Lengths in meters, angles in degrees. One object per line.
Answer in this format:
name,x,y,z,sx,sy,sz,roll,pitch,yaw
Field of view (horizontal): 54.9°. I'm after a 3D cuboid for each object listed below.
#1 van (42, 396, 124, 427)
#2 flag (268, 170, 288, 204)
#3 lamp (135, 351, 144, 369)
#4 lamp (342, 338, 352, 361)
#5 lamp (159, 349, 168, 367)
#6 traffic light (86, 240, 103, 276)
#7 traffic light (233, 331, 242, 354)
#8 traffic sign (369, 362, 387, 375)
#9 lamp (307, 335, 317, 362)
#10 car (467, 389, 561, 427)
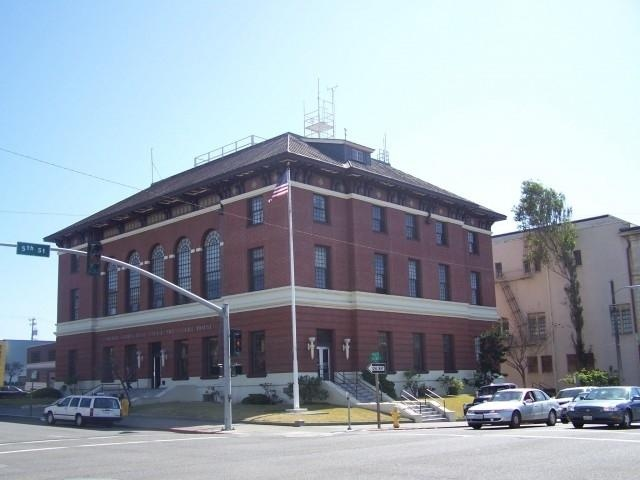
van,-13.676,9.782,36.107,3.887,1.538,2.179,-3,-14,36
flag,-2.752,-3.543,41.011,0.252,1.880,1.755,20,-34,-27
lamp,-15.034,9.979,51.331,0.559,1.853,0.965,10,-17,-42
lamp,2.025,7.802,44.275,0.474,1.478,0.886,-14,-20,33
lamp,-12.575,9.450,49.446,0.351,1.373,0.753,9,-21,-35
traffic light,-10.694,0.792,29.097,0.602,1.716,1.139,3,-18,-21
traffic light,-4.472,5.365,32.724,0.507,1.247,0.258,-7,-17,12
traffic sign,3.177,7.100,34.225,0.704,0.635,1.597,-9,-19,17
lamp,-0.520,7.336,42.055,0.323,1.565,0.674,-17,-22,40
car,9.840,8.543,31.222,4.621,1.897,1.941,7,-21,-30
